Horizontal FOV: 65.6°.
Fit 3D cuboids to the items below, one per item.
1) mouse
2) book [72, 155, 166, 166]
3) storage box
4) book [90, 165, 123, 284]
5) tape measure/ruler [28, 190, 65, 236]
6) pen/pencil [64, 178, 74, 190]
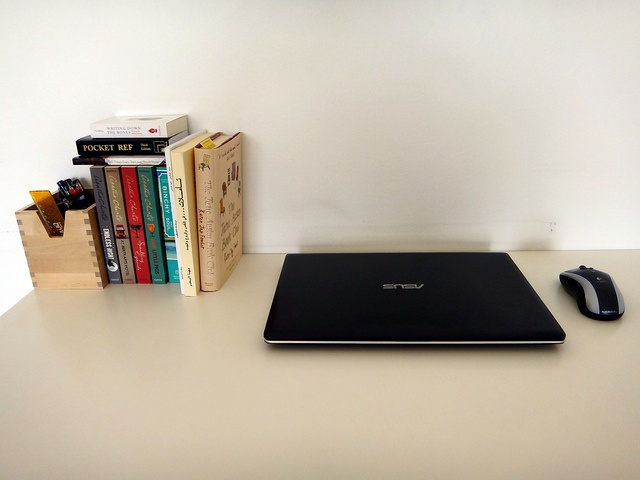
[{"bbox_3d":[0.656,0.119,1.177,0.079,0.047,0.143,0,21,3],"label":"mouse"},{"bbox_3d":[-0.508,-0.197,1.242,0.243,0.033,0.041,-1,16,8],"label":"book"},{"bbox_3d":[-0.662,0.002,1.394,0.202,0.273,0.273,-2,18,-7],"label":"storage box"},{"bbox_3d":[-0.539,-0.045,1.250,0.029,0.285,0.230,-11,20,-12],"label":"book"},{"bbox_3d":[-0.674,-0.064,1.242,0.060,0.119,0.072,-15,20,-36],"label":"tape measure/ruler"},{"bbox_3d":[-0.648,-0.145,1.289,0.007,0.026,0.028,-2,8,8],"label":"pen/pencil"}]
